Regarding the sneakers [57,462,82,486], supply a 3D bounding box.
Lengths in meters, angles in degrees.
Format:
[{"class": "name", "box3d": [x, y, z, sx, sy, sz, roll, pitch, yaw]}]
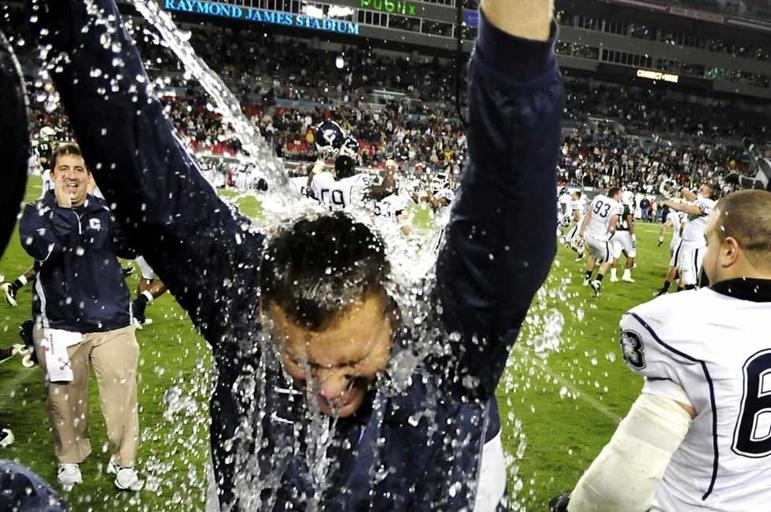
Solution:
[{"class": "sneakers", "box3d": [-1.944, 1.343, 4.611, 0.118, 0.130, 0.129, 8, -25, -21]}]

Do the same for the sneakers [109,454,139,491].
[{"class": "sneakers", "box3d": [-1.654, 1.336, 4.690, 0.276, 0.131, 0.109, 30, 19, 30]}]
